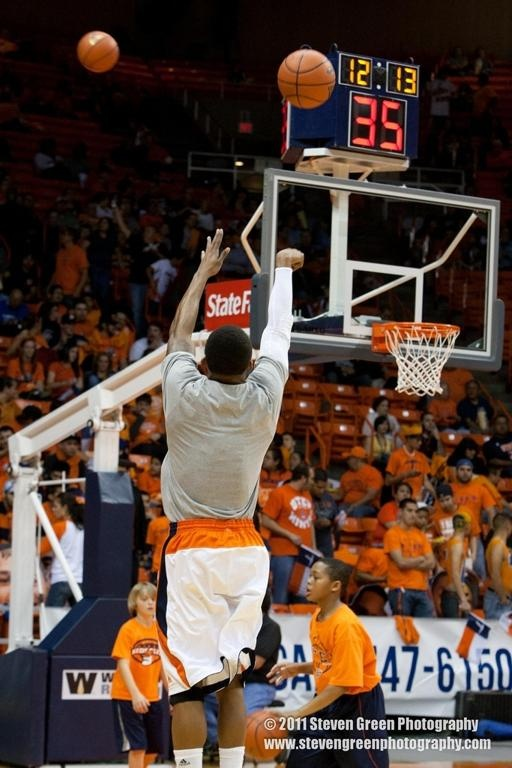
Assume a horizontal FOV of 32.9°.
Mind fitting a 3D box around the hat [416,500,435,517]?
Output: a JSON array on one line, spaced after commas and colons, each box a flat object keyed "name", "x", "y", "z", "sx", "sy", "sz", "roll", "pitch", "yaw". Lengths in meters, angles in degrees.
[{"name": "hat", "x": 1.847, "y": 1.348, "z": 9.525, "sx": 0.227, "sy": 0.315, "sz": 0.086, "roll": 1, "pitch": 86, "yaw": -2}]

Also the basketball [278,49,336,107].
[{"name": "basketball", "x": 0.309, "y": -1.955, "z": 5.499, "sx": 0.360, "sy": 0.380, "sz": 0.330, "roll": -10, "pitch": 43, "yaw": -8}]

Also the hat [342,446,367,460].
[{"name": "hat", "x": 1.248, "y": 0.878, "z": 11.126, "sx": 0.307, "sy": 0.185, "sz": 0.143, "roll": 8, "pitch": 88, "yaw": 8}]
